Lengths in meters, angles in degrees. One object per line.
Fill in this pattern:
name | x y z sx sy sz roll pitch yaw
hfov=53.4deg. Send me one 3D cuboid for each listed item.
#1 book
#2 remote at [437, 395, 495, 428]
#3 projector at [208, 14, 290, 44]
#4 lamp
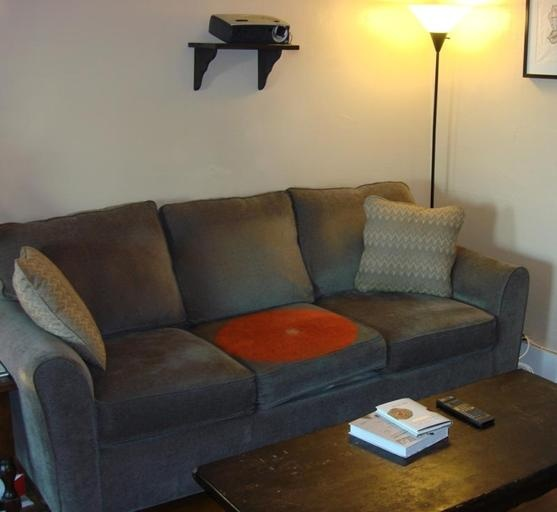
book | 0.353 0.533 1.692 0.185 0.039 0.179 -11 17 -41
remote | 0.617 0.515 1.834 0.187 0.052 0.209 -1 10 -12
projector | -0.153 -1.170 2.846 0.372 0.171 0.291 -9 18 -21
lamp | 0.995 -0.871 3.588 0.256 1.339 0.255 -15 25 -33
